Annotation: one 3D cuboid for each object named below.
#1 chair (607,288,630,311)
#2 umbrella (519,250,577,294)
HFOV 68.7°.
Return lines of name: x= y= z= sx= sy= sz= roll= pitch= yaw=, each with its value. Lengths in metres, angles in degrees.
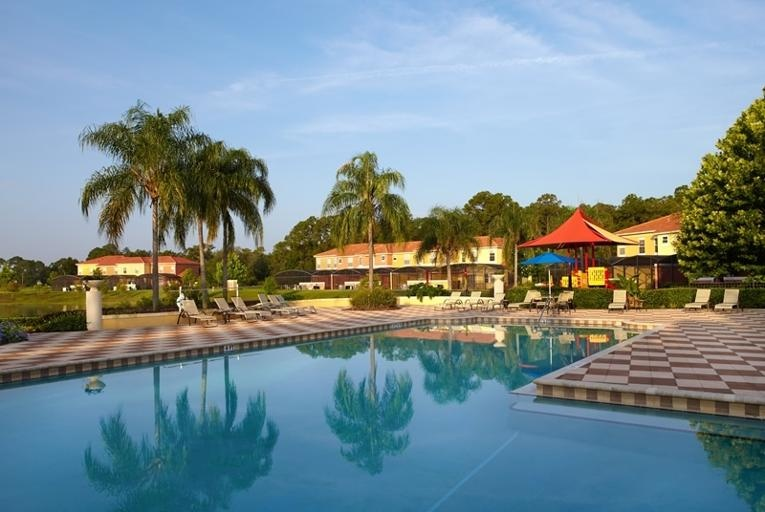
chair: x=11.379 y=2.063 z=26.892 sx=0.777 sy=0.983 sz=1.355 roll=-1 pitch=0 yaw=25
umbrella: x=10.824 y=0.968 z=36.352 sx=2.466 sy=2.405 sz=2.556 roll=-4 pitch=-3 yaw=35
